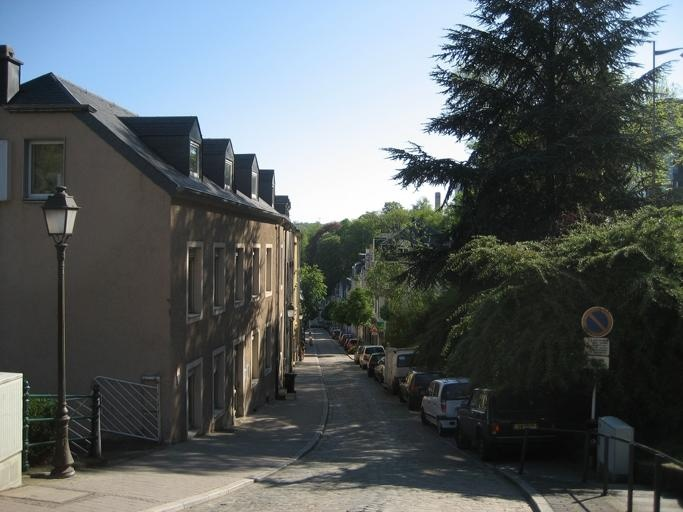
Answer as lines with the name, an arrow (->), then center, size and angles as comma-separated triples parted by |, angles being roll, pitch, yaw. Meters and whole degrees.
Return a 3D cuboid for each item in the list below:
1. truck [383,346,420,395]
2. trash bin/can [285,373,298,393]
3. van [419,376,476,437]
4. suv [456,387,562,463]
truck -> 3.175, 5.749, 42.486 | 1.396, 1.829, 2.669 | 1, 0, -3
trash bin/can -> -2.385, 5.904, 37.596 | 0.434, 0.933, 0.683 | 2, -6, -10
van -> 3.783, 5.074, 28.276 | 1.241, 1.375, 2.452 | 1, 1, -7
suv -> 4.329, 4.537, 22.504 | 1.341, 1.339, 2.542 | 1, -2, -6
